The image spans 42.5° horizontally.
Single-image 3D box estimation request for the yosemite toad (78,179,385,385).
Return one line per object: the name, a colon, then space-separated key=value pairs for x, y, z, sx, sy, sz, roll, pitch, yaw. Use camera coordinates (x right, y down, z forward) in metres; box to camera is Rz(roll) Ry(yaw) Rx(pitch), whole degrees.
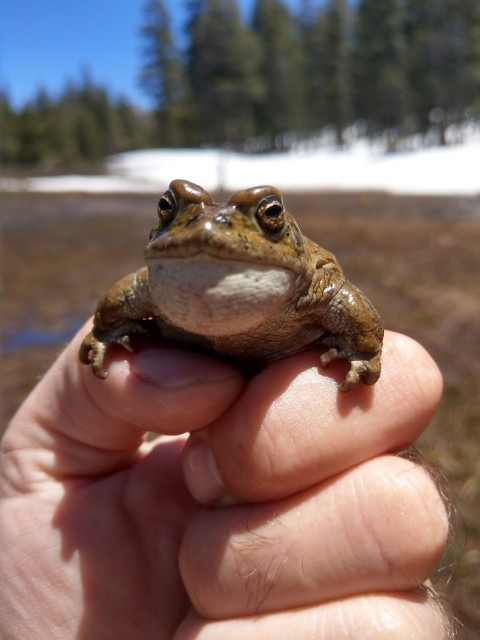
yosemite toad: x=0.005 y=-0.097 z=1.836 sx=0.821 sy=0.441 sz=0.766 roll=0 pitch=5 yaw=16
